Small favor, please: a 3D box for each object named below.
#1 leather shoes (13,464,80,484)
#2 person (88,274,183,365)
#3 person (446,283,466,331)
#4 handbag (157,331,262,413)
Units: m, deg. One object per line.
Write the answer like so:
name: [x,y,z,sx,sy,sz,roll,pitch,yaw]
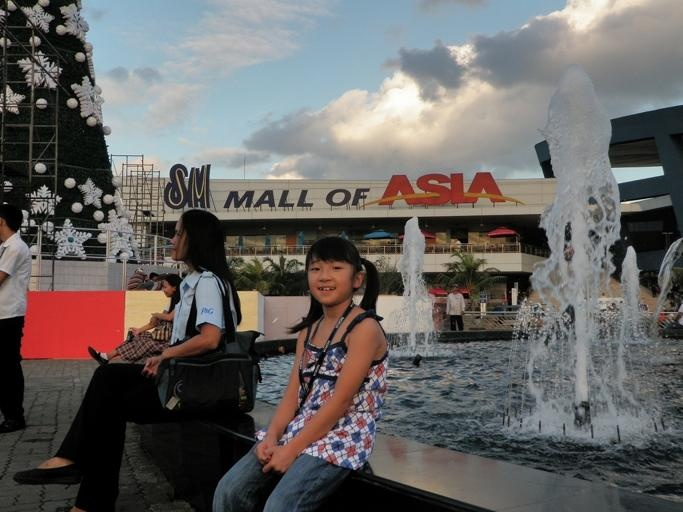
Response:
leather shoes: [-2.003,1.497,4.329,0.441,0.188,0.166,8,-14,-15]
person: [-2.422,0.767,7.543,1.076,1.124,0.450,7,-4,-25]
person: [4.260,2.023,23.347,0.588,1.558,2.597,0,-3,10]
handbag: [-0.959,0.790,4.714,0.724,0.661,0.400,-1,19,-6]
